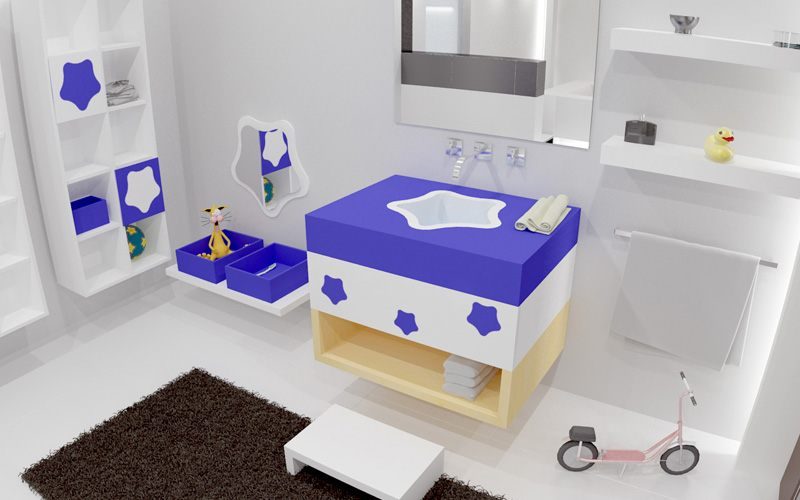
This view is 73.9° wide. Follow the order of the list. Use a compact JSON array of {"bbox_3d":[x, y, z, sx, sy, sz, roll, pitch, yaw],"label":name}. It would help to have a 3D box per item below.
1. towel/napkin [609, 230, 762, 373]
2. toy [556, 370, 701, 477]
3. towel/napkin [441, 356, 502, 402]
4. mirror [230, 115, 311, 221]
[{"bbox_3d":[1.455,0.231,2.662,0.609,0.576,0.211,16,30,27],"label":"towel/napkin"},{"bbox_3d":[1.097,0.899,2.892,0.763,0.556,0.441,0,29,7],"label":"toy"},{"bbox_3d":[0.320,0.620,2.641,0.169,0.116,0.241,13,13,25],"label":"towel/napkin"},{"bbox_3d":[-0.875,-0.555,3.567,0.651,0.663,0.148,21,34,29],"label":"mirror"}]
